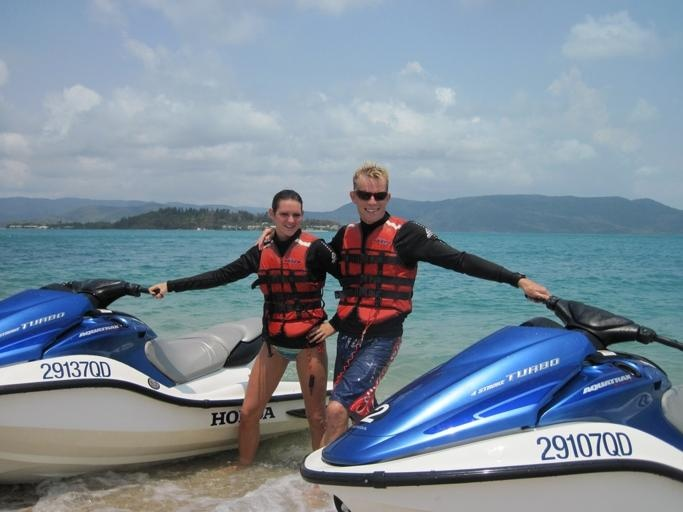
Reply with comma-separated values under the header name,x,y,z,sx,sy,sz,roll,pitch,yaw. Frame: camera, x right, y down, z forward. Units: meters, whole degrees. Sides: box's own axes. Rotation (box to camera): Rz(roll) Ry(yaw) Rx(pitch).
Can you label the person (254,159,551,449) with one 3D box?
name,x,y,z,sx,sy,sz,roll,pitch,yaw
person,0.476,0.476,4.063,1.222,1.681,0.799,0,4,-2
